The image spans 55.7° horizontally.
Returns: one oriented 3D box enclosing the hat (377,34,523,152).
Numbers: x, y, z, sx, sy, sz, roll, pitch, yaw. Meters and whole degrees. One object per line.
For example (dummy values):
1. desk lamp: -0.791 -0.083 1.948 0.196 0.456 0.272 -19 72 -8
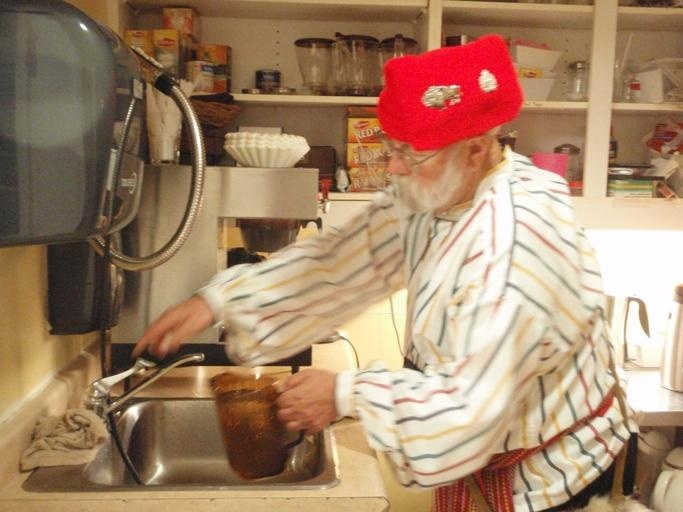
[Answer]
1. hat: 0.182 -0.316 1.225 0.325 0.159 0.182 -16 53 -20
